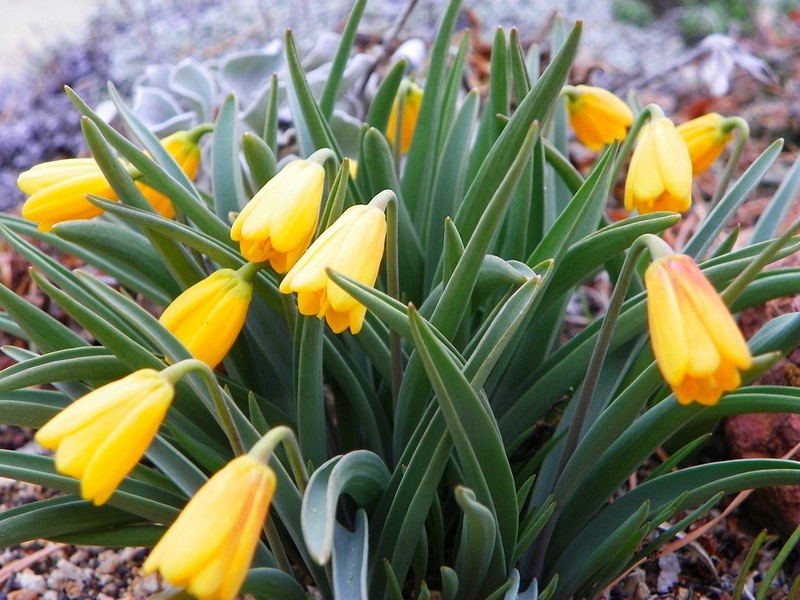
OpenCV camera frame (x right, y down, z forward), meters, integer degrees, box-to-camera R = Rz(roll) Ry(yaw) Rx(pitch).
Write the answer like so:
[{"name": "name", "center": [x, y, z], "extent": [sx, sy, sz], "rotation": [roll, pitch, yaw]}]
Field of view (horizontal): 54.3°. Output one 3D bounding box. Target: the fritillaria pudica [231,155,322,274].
[{"name": "fritillaria pudica", "center": [-0.204, -0.144, 1.377], "extent": [0.110, 0.095, 0.231], "rotation": [25, 81, -3]}]

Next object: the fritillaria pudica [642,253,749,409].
[{"name": "fritillaria pudica", "center": [0.447, 0.050, 1.232], "extent": [0.126, 0.260, 0.110], "rotation": [-28, -7, 29]}]

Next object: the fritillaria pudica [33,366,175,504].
[{"name": "fritillaria pudica", "center": [-0.428, 0.193, 1.195], "extent": [0.225, 0.105, 0.146], "rotation": [-44, 82, -1]}]

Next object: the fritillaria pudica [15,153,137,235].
[{"name": "fritillaria pudica", "center": [-0.636, -0.207, 1.509], "extent": [0.209, 0.133, 0.088], "rotation": [-18, -4, -4]}]

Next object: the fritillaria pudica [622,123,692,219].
[{"name": "fritillaria pudica", "center": [0.510, -0.282, 1.504], "extent": [0.108, 0.176, 0.090], "rotation": [-36, 44, -14]}]
